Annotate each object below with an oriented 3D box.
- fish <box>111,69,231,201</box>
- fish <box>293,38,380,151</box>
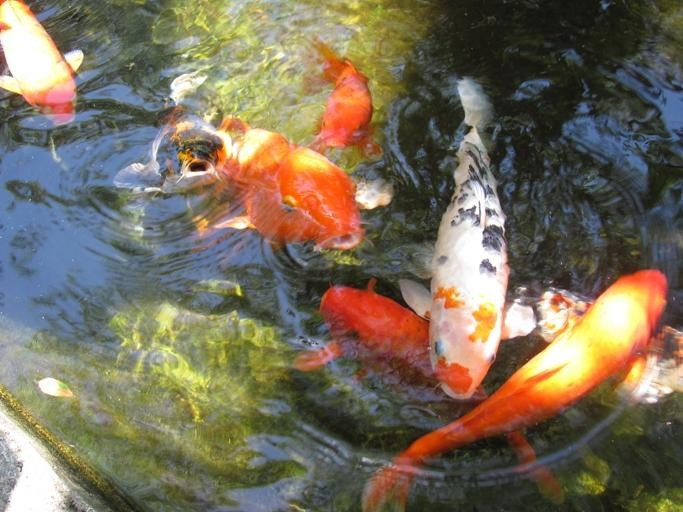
[{"bbox_3d":[-1.063,-0.829,5.199,0.497,0.269,0.819,-15,54,10],"label":"fish"},{"bbox_3d":[0.013,-0.948,5.234,0.432,0.299,0.649,18,68,1],"label":"fish"}]
